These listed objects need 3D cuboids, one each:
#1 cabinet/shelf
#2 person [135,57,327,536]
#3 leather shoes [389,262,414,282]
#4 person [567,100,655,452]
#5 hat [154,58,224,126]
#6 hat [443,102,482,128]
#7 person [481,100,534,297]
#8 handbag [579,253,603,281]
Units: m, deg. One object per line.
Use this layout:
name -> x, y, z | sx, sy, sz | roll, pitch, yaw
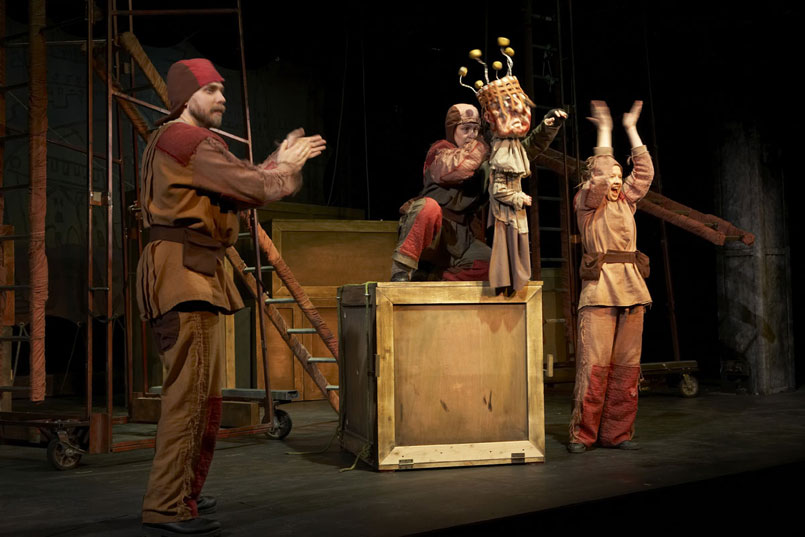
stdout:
cabinet/shelf -> 0.248, 0.796, 6.941 | 1.404, 1.275, 1.326 | 3, -7, -28
person -> -1.156, 0.335, 5.569 | 0.900, 2.454, 0.369 | 1, -2, -16
leather shoes -> 0.004, 0.030, 6.590 | 0.138, 0.101, 0.076 | -4, -27, -17
person -> 1.591, 0.052, 6.961 | 0.643, 2.635, 0.399 | 0, -2, 7
hat -> -1.337, -1.145, 5.839 | 0.424, 0.363, 0.293 | -5, 6, -4
hat -> 0.448, -1.138, 6.786 | 0.194, 0.116, 0.195 | -2, 3, 40
person -> 0.775, -0.485, 6.571 | 0.290, 1.346, 0.238 | 0, -2, 5
handbag -> 1.434, -0.005, 6.910 | 0.165, 0.194, 0.078 | 4, 0, 19
